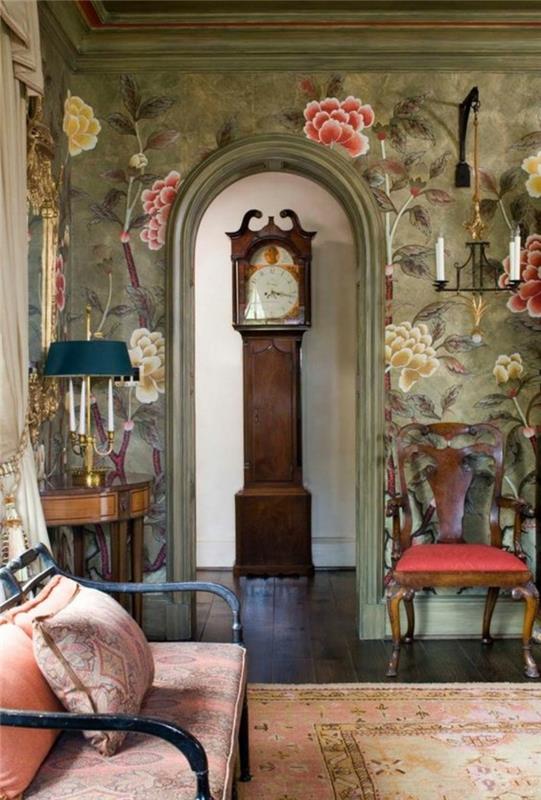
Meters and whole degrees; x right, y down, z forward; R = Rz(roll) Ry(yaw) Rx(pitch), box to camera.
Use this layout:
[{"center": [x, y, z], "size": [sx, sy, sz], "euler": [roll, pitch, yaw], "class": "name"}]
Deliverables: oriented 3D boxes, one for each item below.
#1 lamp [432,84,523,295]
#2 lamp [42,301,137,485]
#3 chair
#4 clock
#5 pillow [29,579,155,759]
[{"center": [0.906, -0.953, 3.168], "size": [0.380, 0.958, 0.510], "euler": [0, 0, 18], "class": "lamp"}, {"center": [-0.729, -0.045, 2.977], "size": [0.354, 0.758, 0.790], "euler": [0, 0, -10], "class": "lamp"}, {"center": [0.828, 0.599, 3.082], "size": [0.642, 0.993, 0.685], "euler": [0, 0, 9], "class": "chair"}, {"center": [0.001, -0.019, 4.284], "size": [0.493, 2.183, 0.246], "euler": [0, 0, -4], "class": "clock"}, {"center": [-0.348, 0.527, 1.374], "size": [0.105, 0.163, 0.269], "euler": [-38, 5, -6], "class": "pillow"}]
